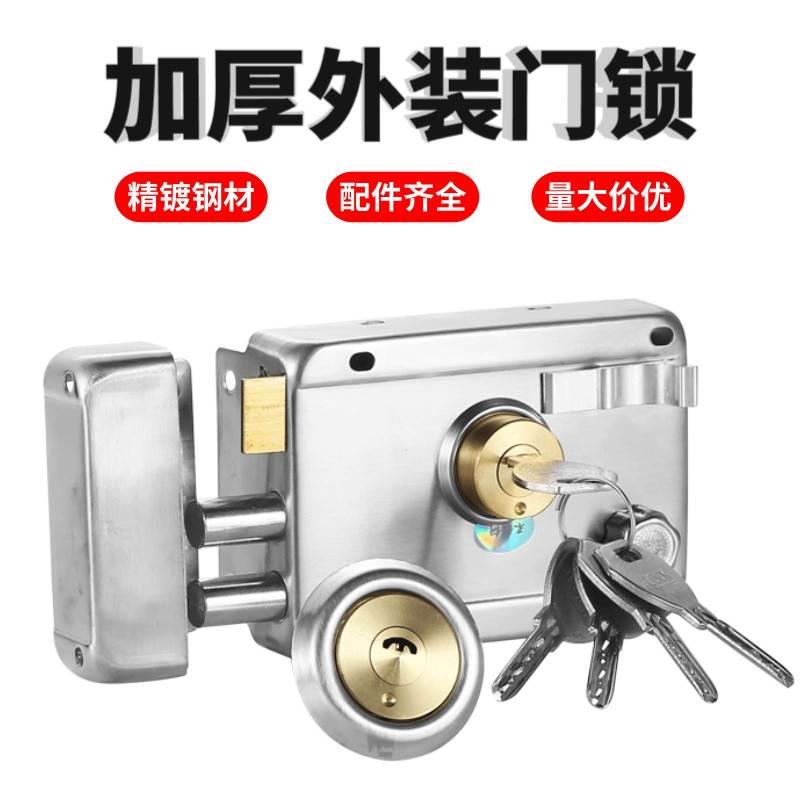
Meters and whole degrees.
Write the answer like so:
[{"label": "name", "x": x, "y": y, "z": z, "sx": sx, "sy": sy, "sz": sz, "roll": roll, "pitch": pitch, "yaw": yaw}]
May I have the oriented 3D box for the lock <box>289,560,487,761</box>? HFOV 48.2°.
[{"label": "lock", "x": -0.015, "y": 0.340, "z": 1.170, "sx": 0.229, "sy": 0.081, "sz": 0.240, "roll": -8, "pitch": 55, "yaw": 2}]
